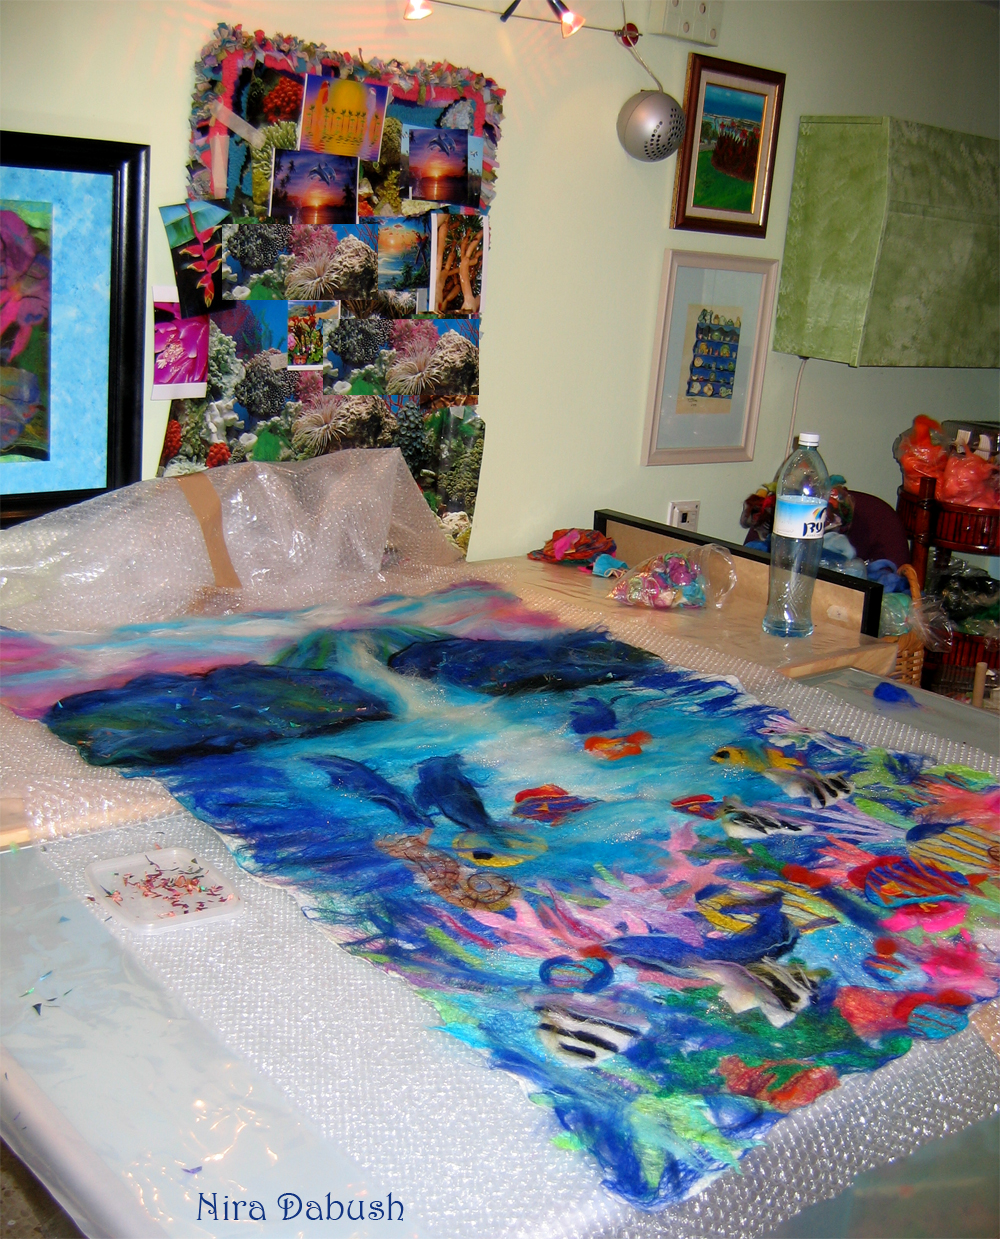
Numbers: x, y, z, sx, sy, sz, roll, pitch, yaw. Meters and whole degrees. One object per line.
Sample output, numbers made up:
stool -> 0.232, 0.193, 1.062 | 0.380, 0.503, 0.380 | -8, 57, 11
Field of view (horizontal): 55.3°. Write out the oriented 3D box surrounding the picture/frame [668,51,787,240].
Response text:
picture/frame -> 0.655, -1.338, 2.726 | 0.392, 0.467, 0.031 | -7, 19, -35

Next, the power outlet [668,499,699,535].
power outlet -> 0.580, -0.325, 2.984 | 0.030, 0.096, 0.143 | 17, 19, 40

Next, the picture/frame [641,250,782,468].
picture/frame -> 0.615, -0.795, 2.851 | 0.704, 0.698, 0.034 | -13, 28, -37
